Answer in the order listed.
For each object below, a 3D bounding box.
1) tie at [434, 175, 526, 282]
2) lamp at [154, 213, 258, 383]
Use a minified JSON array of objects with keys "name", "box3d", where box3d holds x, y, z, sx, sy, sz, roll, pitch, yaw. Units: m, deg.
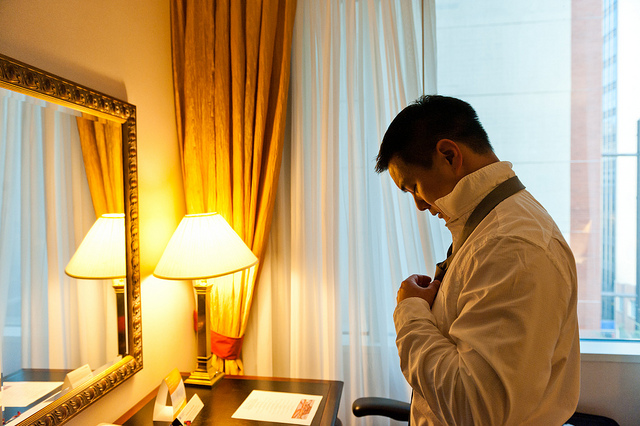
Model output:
[{"name":"tie","box3d":[0.705,-0.015,2.132,0.269,0.085,0.352,-24,-20,-42]},{"name":"lamp","box3d":[-0.677,0.421,2.951,0.555,0.906,0.509,-7,21,-28]}]
